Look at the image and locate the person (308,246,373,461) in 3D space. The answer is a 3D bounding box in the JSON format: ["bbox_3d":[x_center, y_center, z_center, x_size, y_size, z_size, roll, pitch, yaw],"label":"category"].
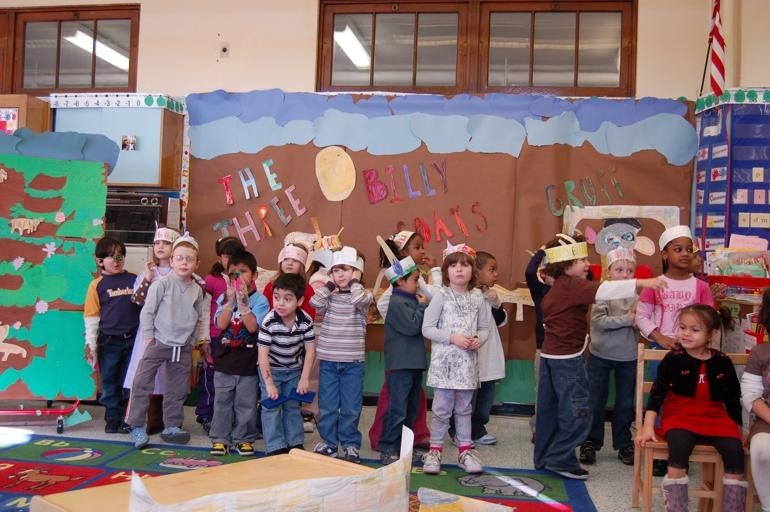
[{"bbox_3d":[-0.318,0.727,5.475,0.439,1.580,0.277,0,-4,-2],"label":"person"}]

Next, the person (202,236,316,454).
[{"bbox_3d":[-1.102,0.724,5.523,0.425,1.526,0.360,0,-4,-3],"label":"person"}]

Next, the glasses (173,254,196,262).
[{"bbox_3d":[-1.559,0.018,5.657,0.165,0.046,0.067,1,-4,-15],"label":"glasses"}]

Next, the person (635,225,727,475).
[{"bbox_3d":[2.184,0.717,5.320,0.646,1.869,0.561,0,-6,13],"label":"person"}]

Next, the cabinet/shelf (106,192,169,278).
[{"bbox_3d":[-2.305,-0.222,6.768,0.627,0.737,0.648,4,-3,17],"label":"cabinet/shelf"}]
